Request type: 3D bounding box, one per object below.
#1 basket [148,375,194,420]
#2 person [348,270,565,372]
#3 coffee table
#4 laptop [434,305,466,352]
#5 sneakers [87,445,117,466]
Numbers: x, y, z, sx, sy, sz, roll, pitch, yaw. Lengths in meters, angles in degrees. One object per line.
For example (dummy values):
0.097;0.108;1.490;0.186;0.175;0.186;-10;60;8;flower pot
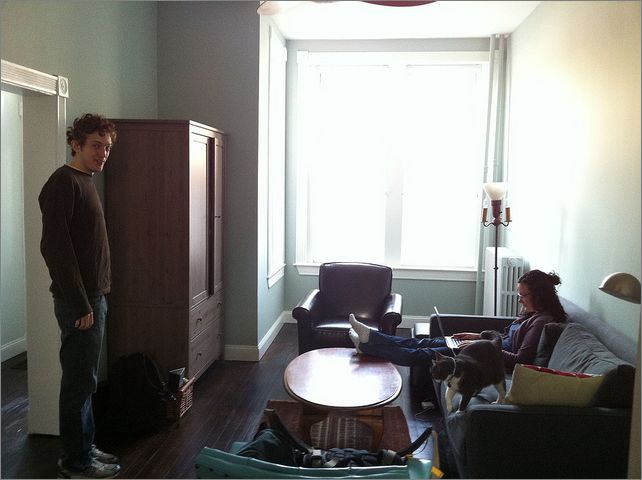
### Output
-1.133;1.277;4.023;0.111;0.263;0.409;4;9;11;basket
1.032;0.700;4.094;1.722;0.858;0.773;-1;12;19;person
0.169;1.086;3.530;0.570;0.392;0.595;-2;14;-4;coffee table
1.026;0.726;4.045;0.232;0.271;0.342;-5;0;13;laptop
-1.515;1.452;3.403;0.243;0.105;0.085;6;5;-4;sneakers
